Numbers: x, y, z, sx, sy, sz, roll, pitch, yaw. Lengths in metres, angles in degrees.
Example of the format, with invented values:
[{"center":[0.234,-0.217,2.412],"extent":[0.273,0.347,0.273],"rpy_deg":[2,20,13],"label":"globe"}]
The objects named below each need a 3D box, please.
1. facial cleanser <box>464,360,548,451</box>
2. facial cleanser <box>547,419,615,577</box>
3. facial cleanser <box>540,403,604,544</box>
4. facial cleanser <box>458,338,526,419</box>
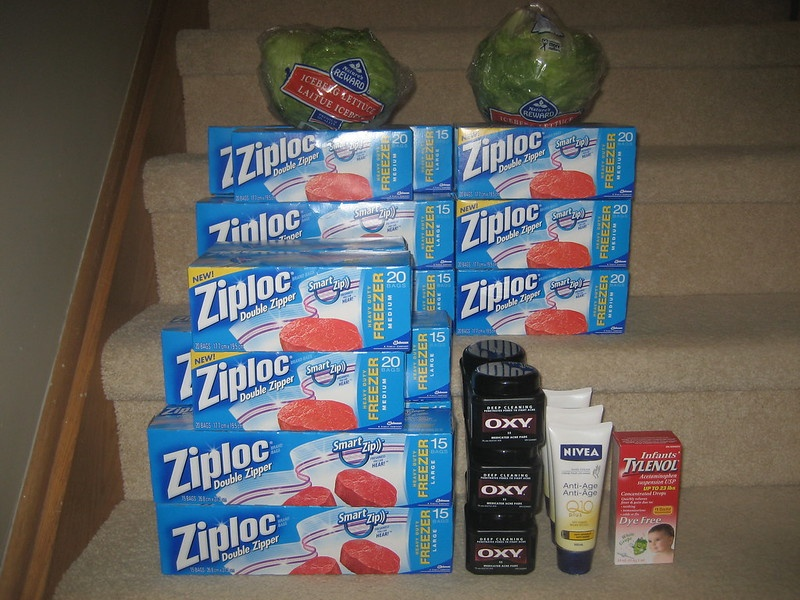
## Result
[{"center":[0.208,0.211,1.584],"extent":[0.181,0.133,0.218],"rpy_deg":[0,12,4],"label":"facial cleanser"},{"center":[0.339,0.383,1.553],"extent":[0.128,0.310,0.112],"rpy_deg":[0,17,4],"label":"facial cleanser"},{"center":[0.340,0.333,1.588],"extent":[0.133,0.292,0.092],"rpy_deg":[1,13,3],"label":"facial cleanser"},{"center":[0.164,0.150,1.634],"extent":[0.165,0.153,0.115],"rpy_deg":[-1,13,-15],"label":"facial cleanser"}]
